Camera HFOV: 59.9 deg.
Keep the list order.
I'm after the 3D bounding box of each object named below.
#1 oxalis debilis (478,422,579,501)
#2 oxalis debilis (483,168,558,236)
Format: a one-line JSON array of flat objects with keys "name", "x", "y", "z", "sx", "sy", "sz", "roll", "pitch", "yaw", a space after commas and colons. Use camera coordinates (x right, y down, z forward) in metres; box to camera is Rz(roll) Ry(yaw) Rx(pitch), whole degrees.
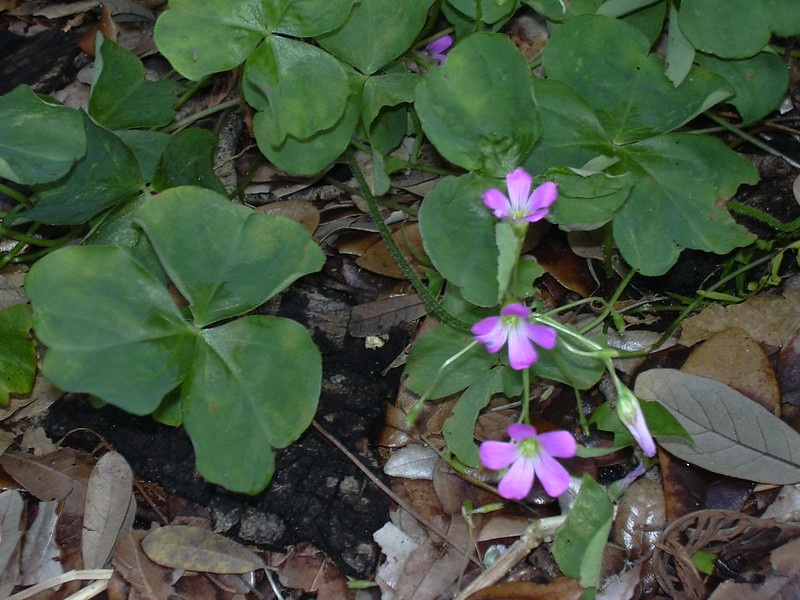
[{"name": "oxalis debilis", "x": 0.347, "y": 0.401, "z": 1.848, "sx": 0.273, "sy": 0.091, "sz": 0.229, "roll": 12, "pitch": 72, "yaw": -24}, {"name": "oxalis debilis", "x": 0.354, "y": -0.277, "z": 2.031, "sx": 0.193, "sy": 0.263, "sz": 0.236, "roll": 4, "pitch": 61, "yaw": 12}]
